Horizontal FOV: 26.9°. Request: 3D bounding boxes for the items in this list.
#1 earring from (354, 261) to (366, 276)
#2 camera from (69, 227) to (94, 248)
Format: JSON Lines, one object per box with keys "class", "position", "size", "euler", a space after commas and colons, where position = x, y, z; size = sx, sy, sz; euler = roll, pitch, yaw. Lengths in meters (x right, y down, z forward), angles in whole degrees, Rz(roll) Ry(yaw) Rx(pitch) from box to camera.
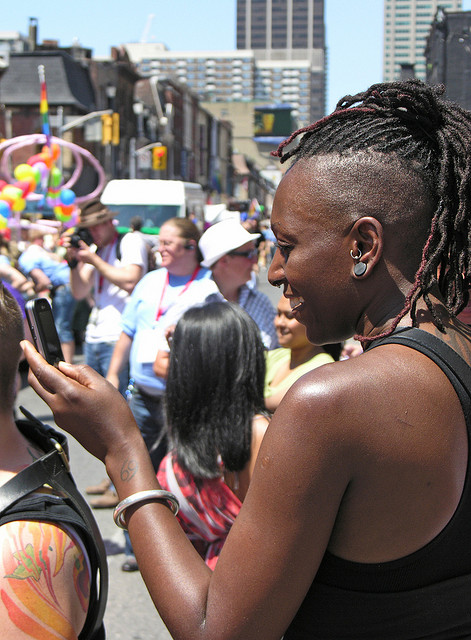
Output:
{"class": "earring", "position": [0.192, -0.081, 1.524], "size": [0.025, 0.025, 0.004], "euler": [1, -9, 33]}
{"class": "camera", "position": [-0.954, -0.512, 6.055], "size": [0.061, 0.131, 0.152], "euler": [1, 6, 32]}
